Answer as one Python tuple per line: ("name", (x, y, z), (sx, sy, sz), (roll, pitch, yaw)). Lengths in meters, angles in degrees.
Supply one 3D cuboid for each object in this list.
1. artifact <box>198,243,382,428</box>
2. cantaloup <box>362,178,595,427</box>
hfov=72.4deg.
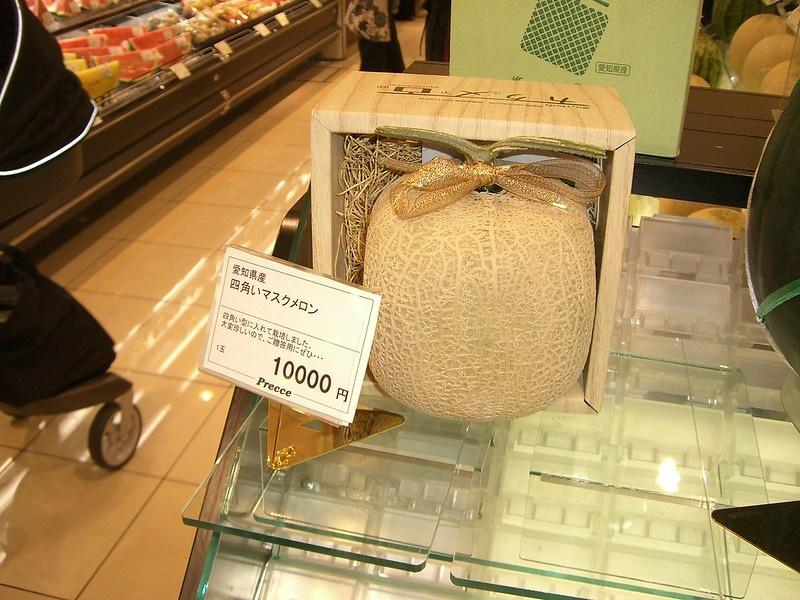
("artifact", (-0.128, 0.036, 0.602), (0.206, 0.113, 0.119), (15, 61, 21))
("cantaloup", (0.096, -0.019, 0.743), (0.263, 0.252, 0.261), (0, 16, 1))
